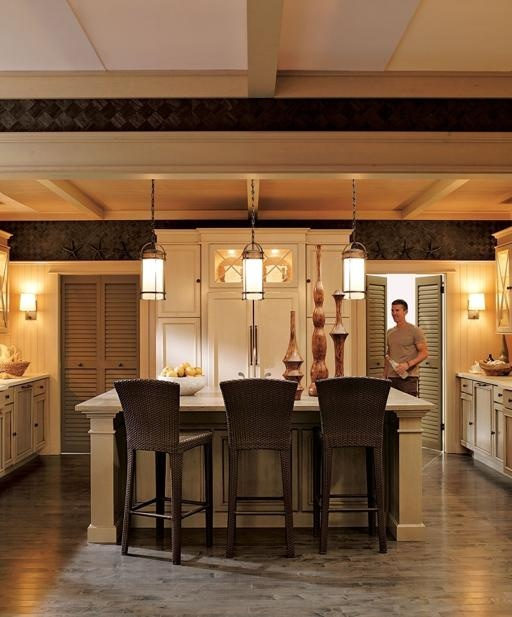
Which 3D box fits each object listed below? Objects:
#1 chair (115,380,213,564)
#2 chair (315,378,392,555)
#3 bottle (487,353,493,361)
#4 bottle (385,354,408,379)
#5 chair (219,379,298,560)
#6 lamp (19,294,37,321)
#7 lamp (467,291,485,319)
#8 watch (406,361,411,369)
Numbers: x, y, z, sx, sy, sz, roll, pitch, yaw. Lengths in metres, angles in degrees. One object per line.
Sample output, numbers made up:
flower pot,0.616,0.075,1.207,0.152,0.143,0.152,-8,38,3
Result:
chair,-0.493,0.854,3.258,0.517,0.965,0.573,-1,1,-5
chair,0.546,0.844,3.312,0.384,0.966,0.509,-1,1,7
bottle,2.244,0.471,5.615,0.071,0.069,0.072,-1,3,15
bottle,1.155,0.488,4.808,0.186,0.202,0.419,-1,1,12
chair,0.025,0.844,3.258,0.387,0.955,0.482,-1,1,2
lamp,-2.234,-0.006,5.758,0.180,0.268,0.148,-1,1,-10
lamp,2.173,-0.010,5.802,0.164,0.264,0.159,0,1,19
watch,1.229,0.457,4.733,0.010,0.036,0.039,0,28,-9
